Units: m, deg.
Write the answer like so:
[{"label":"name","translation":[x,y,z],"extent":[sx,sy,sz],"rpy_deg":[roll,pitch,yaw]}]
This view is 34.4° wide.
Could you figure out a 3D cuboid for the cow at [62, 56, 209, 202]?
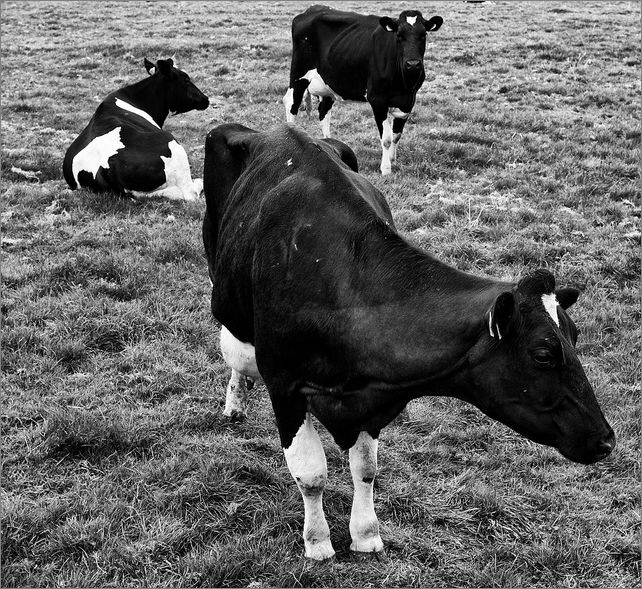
[{"label":"cow","translation":[-2.256,-2.182,13.027],"extent":[1.875,1.008,2.774],"rpy_deg":[-2,29,-12]}]
